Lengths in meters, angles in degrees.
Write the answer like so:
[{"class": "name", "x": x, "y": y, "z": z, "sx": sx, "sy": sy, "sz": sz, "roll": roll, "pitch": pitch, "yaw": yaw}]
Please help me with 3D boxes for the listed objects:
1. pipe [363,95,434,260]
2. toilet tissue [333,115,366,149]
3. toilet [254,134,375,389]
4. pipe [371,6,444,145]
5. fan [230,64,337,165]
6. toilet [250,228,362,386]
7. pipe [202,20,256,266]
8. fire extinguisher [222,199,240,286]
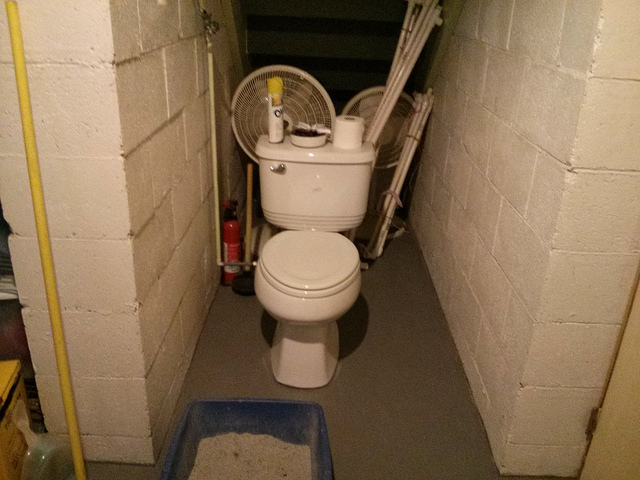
[{"class": "pipe", "x": 0.440, "y": -0.299, "z": 3.039, "sx": 0.354, "sy": 1.003, "sz": 0.375, "roll": 1, "pitch": 23, "yaw": -1}, {"class": "toilet tissue", "x": 0.145, "y": -0.522, "z": 2.564, "sx": 0.141, "sy": 0.146, "sz": 0.153, "roll": 11, "pitch": 41, "yaw": 3}, {"class": "toilet", "x": -0.053, "y": 0.108, "z": 2.371, "sx": 0.537, "sy": 0.977, "sz": 0.878, "roll": 3, "pitch": 24, "yaw": -1}, {"class": "pipe", "x": 0.456, "y": -0.855, "z": 2.665, "sx": 0.197, "sy": 0.656, "sz": 0.601, "roll": 18, "pitch": 31, "yaw": 28}, {"class": "fan", "x": -0.220, "y": -0.800, "z": 2.928, "sx": 0.588, "sy": 0.562, "sz": 0.532, "roll": 2, "pitch": 22, "yaw": -7}, {"class": "toilet", "x": -0.056, "y": 0.293, "z": 2.319, "sx": 0.454, "sy": 0.640, "sz": 0.628, "roll": 5, "pitch": 32, "yaw": 2}, {"class": "pipe", "x": -0.427, "y": -0.432, "z": 2.468, "sx": 0.176, "sy": 1.165, "sz": 0.212, "roll": 2, "pitch": 22, "yaw": -2}, {"class": "fire extinguisher", "x": -0.475, "y": 0.027, "z": 2.699, "sx": 0.131, "sy": 0.522, "sz": 0.124, "roll": -24, "pitch": 49, "yaw": -31}]
